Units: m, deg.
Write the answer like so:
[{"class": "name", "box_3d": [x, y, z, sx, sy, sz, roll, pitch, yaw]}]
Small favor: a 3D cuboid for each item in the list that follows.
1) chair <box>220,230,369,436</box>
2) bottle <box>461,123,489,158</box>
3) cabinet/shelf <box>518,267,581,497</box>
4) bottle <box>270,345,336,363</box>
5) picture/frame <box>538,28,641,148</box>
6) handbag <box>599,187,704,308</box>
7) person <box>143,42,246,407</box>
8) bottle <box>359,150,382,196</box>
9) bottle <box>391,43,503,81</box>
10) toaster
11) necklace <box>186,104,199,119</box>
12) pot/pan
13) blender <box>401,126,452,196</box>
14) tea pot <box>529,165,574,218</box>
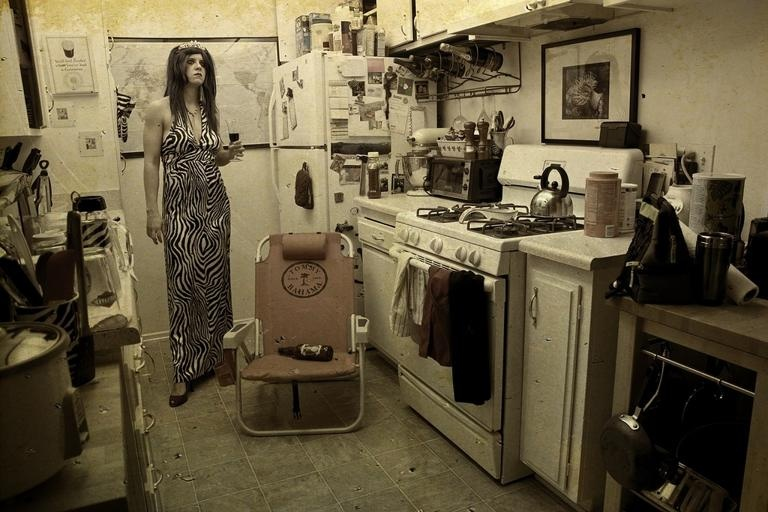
[{"class": "chair", "box_3d": [-0.510, 0.431, 3.398, 0.790, 1.074, 0.767, -3, 15, -8]}, {"class": "bottle", "box_3d": [0.572, -0.715, 3.606, 0.196, 0.275, 0.118, 8, 18, 31]}, {"class": "cabinet/shelf", "box_3d": [0.752, 0.560, 2.617, 0.124, 0.956, 0.363, -6, 16, -17]}, {"class": "bottle", "box_3d": [-0.458, 0.540, 3.295, 0.329, 0.092, 0.112, 3, 1, 13]}, {"class": "picture/frame", "box_3d": [1.163, -0.940, 3.199, 0.037, 0.600, 0.740, -4, 9, -25]}, {"class": "handbag", "box_3d": [0.982, -0.055, 2.330, 0.356, 0.458, 0.482, -2, 6, -1]}, {"class": "person", "box_3d": [-1.230, -0.188, 3.609, 0.627, 2.177, 0.348, -15, 20, -42]}, {"class": "bottle", "box_3d": [-0.100, -0.559, 4.004, 0.151, 0.309, 0.324, -1, 14, -1]}, {"class": "bottle", "box_3d": [0.402, -1.318, 3.963, 0.460, 0.218, 0.734, -9, 16, -29]}, {"class": "toaster", "box_3d": [0.510, -0.502, 3.764, 0.329, 0.258, 0.470, -9, 15, -28]}, {"class": "necklace", "box_3d": [-1.196, -0.898, 3.601, 0.085, 0.082, 0.026, 10, 7, 41]}, {"class": "pot/pan", "box_3d": [0.924, 0.600, 2.122, 0.081, 0.479, 0.278, 17, -9, -18]}, {"class": "blender", "box_3d": [0.260, -0.685, 4.106, 0.442, 0.413, 0.245, -10, 22, -41]}, {"class": "tea pot", "box_3d": [0.865, -0.330, 2.977, 0.239, 0.282, 0.290, -4, 14, -16]}]
